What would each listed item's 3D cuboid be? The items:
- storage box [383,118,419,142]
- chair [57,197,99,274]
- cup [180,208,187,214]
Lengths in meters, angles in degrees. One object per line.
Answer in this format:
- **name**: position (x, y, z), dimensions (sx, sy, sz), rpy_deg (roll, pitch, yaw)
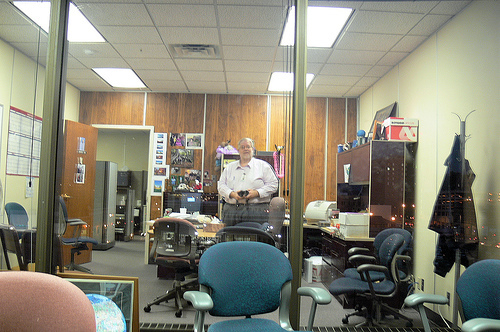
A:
- **storage box**: position (1.451, -0.357, 3.788), dimensions (0.366, 0.258, 0.215), rpy_deg (1, 4, -4)
- **chair**: position (-1.733, 0.694, 3.907), dimensions (0.422, 0.719, 0.406), rpy_deg (0, -10, -10)
- **cup**: position (-0.643, 0.425, 3.759), dimensions (0.050, 0.071, 0.053), rpy_deg (3, 5, 0)
